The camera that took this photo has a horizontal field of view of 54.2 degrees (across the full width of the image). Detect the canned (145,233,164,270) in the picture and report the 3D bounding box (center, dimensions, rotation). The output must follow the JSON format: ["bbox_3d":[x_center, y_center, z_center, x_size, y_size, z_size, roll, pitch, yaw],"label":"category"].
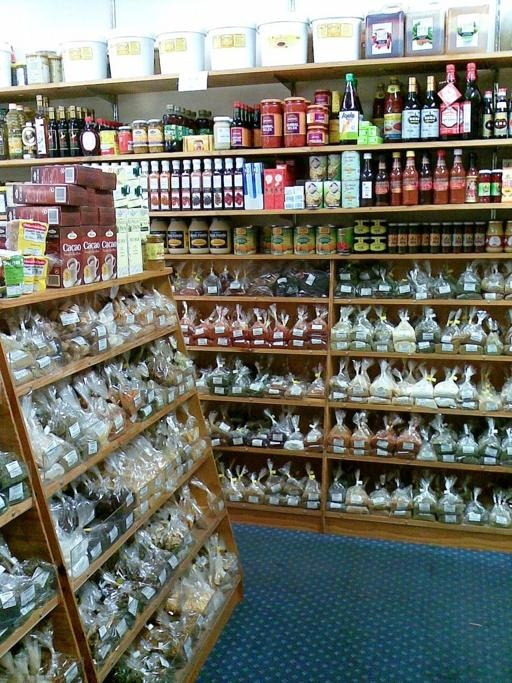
[{"bbox_3d":[-0.425,-0.360,2.082,0.080,0.134,0.182,-2,4,-12],"label":"canned"}]

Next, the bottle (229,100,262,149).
[{"bbox_3d":[-0.062,-1.261,2.953,0.191,0.278,0.089,-4,4,-38],"label":"bottle"}]

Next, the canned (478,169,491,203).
[{"bbox_3d":[1.217,-0.822,2.663,0.066,0.163,0.053,0,4,23],"label":"canned"}]

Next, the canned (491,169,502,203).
[{"bbox_3d":[1.277,-0.818,2.651,0.055,0.159,0.043,1,4,24],"label":"canned"}]
